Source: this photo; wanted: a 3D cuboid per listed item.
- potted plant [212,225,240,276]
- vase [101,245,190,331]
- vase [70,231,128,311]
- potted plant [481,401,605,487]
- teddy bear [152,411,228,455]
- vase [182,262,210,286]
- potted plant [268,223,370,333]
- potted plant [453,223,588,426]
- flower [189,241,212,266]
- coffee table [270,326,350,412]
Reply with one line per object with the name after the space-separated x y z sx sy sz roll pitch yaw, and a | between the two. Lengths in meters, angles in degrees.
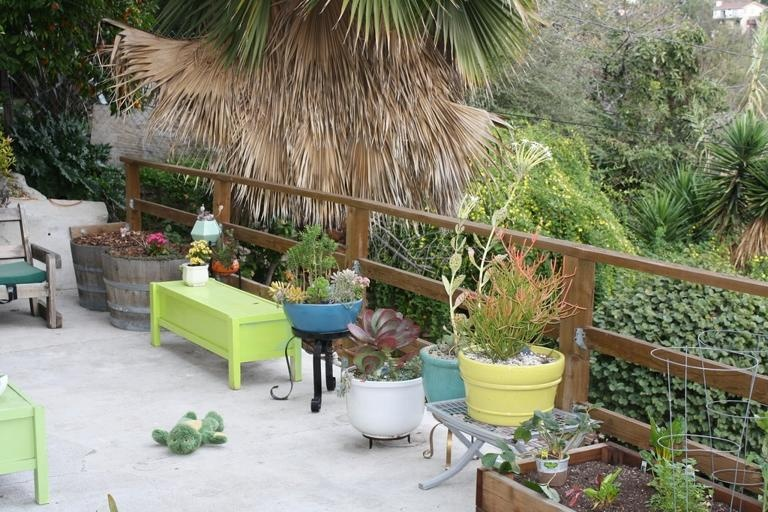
-1.462 -0.024 5.590 0.270 0.425 0.262 -11 7 -30 | potted plant
-2.347 0.237 5.745 0.793 0.736 0.854 20 15 35 | vase
-3.046 0.122 6.271 0.703 0.813 0.782 0 0 4 | vase
0.729 0.864 2.805 0.509 0.319 0.615 1 -11 21 | potted plant
-1.181 1.050 3.617 0.425 0.166 0.466 -6 -6 0 | teddy bear
-1.564 0.153 5.049 0.177 0.142 0.183 -1 -3 24 | vase
-0.471 0.170 4.158 0.648 0.713 0.716 -3 -7 34 | potted plant
0.639 0.371 3.139 0.706 0.930 0.658 1 -1 -18 | potted plant
-1.544 -0.031 5.143 0.200 0.241 0.201 -1 2 -9 | flower
-0.463 0.728 4.198 0.530 0.509 0.533 2 6 26 | coffee table
